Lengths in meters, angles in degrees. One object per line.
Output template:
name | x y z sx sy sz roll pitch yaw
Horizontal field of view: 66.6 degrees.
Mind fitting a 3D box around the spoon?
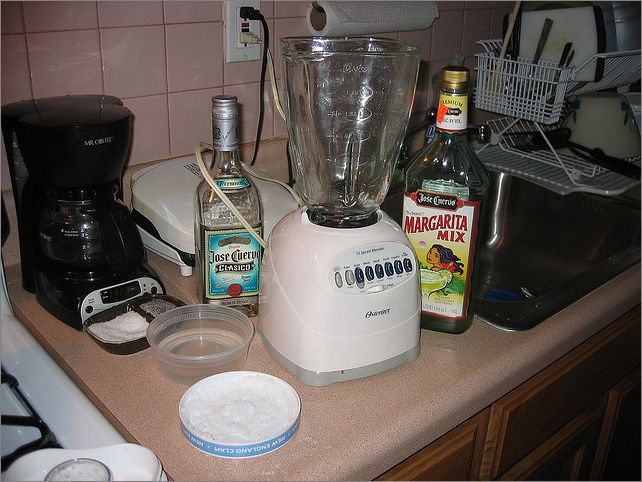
spoon | 0.502 -0.538 1.336 0.050 0.216 0.301 8 26 18

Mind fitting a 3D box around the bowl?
bowl | -0.183 0.154 0.741 0.149 0.051 0.153 3 20 -1

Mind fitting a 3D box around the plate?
plate | -0.106 0.228 0.642 0.153 0.040 0.116 -4 25 -8

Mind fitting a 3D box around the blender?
blender | 0.023 -0.070 0.764 0.253 0.452 0.358 -1 25 -2

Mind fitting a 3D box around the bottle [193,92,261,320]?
bottle | -0.156 -0.043 0.772 0.121 0.359 0.111 -1 25 0
